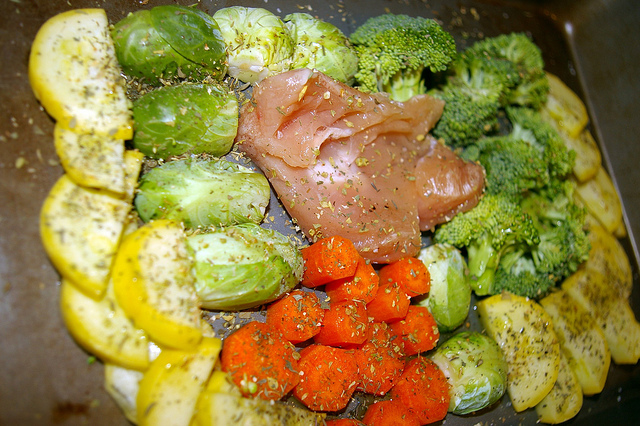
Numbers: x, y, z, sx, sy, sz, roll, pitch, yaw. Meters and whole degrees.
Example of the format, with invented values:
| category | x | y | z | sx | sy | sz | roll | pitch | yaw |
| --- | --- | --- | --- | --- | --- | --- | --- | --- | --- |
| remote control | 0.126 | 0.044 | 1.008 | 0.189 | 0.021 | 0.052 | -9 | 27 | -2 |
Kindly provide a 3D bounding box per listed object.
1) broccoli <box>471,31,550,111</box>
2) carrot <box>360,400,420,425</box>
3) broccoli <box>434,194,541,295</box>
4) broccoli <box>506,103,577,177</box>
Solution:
| category | x | y | z | sx | sy | sz | roll | pitch | yaw |
| --- | --- | --- | --- | --- | --- | --- | --- | --- | --- |
| broccoli | 1.508 | -1.123 | 4.809 | 0.488 | 0.630 | 0.405 | 0 | 23 | 7 |
| carrot | 0.476 | 1.363 | 4.180 | 0.354 | 0.200 | 0.173 | -1 | 65 | -14 |
| broccoli | 1.282 | 0.228 | 4.683 | 0.631 | 0.725 | 0.790 | 1 | 87 | 31 |
| broccoli | 1.628 | -0.533 | 4.603 | 0.377 | 0.228 | 0.575 | -9 | 82 | -11 |
